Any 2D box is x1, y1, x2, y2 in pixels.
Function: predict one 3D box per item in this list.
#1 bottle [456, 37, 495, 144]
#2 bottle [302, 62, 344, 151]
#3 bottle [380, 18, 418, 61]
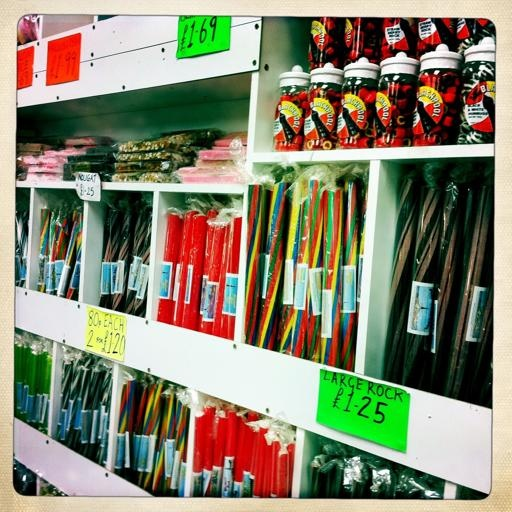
[{"bbox_3d":[0.430,-0.315,0.911,0.067,0.210,0.049,4,-2,-27],"label":"bottle"},{"bbox_3d":[0.161,-0.352,1.063,0.075,0.088,0.200,9,-46,17],"label":"bottle"},{"bbox_3d":[0.304,-0.457,1.042,0.071,0.101,0.080,0,-4,4],"label":"bottle"}]
